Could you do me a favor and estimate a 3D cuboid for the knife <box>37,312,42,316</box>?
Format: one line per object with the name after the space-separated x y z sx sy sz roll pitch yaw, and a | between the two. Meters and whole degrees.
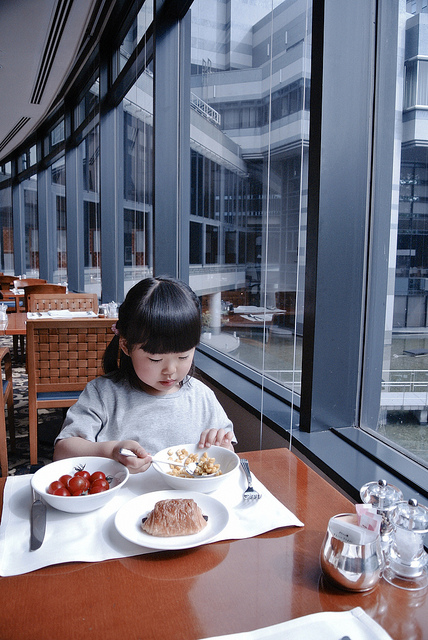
-1.031 -0.029 2.630 0.030 0.008 0.032 7 16 -24 | knife

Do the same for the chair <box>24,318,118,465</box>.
-0.638 0.255 2.076 0.391 0.676 0.458 3 15 -8 | chair

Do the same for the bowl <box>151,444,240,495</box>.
-0.016 0.236 0.721 0.075 0.029 0.080 4 9 -1 | bowl

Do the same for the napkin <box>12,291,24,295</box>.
-1.943 -0.272 4.430 0.095 0.019 0.373 2 6 -21 | napkin

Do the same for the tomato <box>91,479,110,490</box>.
-0.166 0.245 0.656 0.015 0.021 0.017 17 -29 -14 | tomato

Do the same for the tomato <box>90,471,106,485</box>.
-0.177 0.241 0.680 0.015 0.020 0.015 -22 14 -21 | tomato

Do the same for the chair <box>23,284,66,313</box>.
-1.472 -0.251 3.876 0.280 0.159 0.209 -2 15 -12 | chair

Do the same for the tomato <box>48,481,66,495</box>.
-0.227 0.245 0.646 0.016 0.019 0.015 28 41 33 | tomato

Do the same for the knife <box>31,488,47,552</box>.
-0.236 0.263 0.597 0.009 0.075 0.006 3 -22 -19 | knife

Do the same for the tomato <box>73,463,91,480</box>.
-0.204 0.239 0.689 0.016 0.024 0.017 -11 -6 -9 | tomato
